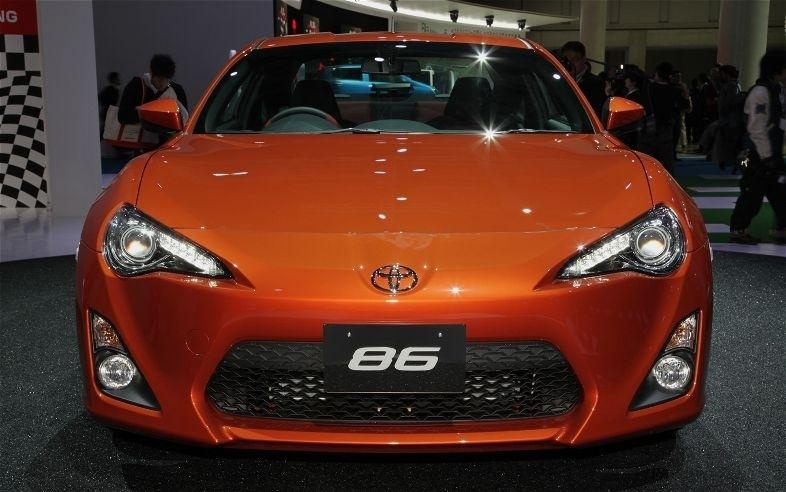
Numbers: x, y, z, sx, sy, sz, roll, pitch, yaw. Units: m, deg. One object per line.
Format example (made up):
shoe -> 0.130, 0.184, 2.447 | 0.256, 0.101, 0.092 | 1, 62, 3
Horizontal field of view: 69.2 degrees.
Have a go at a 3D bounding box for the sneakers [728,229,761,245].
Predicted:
sneakers -> 3.793, -0.088, 6.110 | 0.333, 0.137, 0.121 | 1, 14, 16

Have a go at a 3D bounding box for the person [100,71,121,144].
person -> -6.121, -2.954, 12.291 | 0.503, 1.528, 0.428 | 8, 19, -13

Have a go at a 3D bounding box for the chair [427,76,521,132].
chair -> 0.458, -0.740, 3.017 | 0.348, 0.155, 0.454 | 1, 8, 1

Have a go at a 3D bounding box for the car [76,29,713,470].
car -> 0.127, -0.318, 3.126 | 1.782, 1.157, 2.843 | 0, 8, 2

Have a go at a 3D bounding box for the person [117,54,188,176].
person -> -2.735, -1.336, 6.515 | 0.741, 1.653, 0.585 | -3, 23, -34
